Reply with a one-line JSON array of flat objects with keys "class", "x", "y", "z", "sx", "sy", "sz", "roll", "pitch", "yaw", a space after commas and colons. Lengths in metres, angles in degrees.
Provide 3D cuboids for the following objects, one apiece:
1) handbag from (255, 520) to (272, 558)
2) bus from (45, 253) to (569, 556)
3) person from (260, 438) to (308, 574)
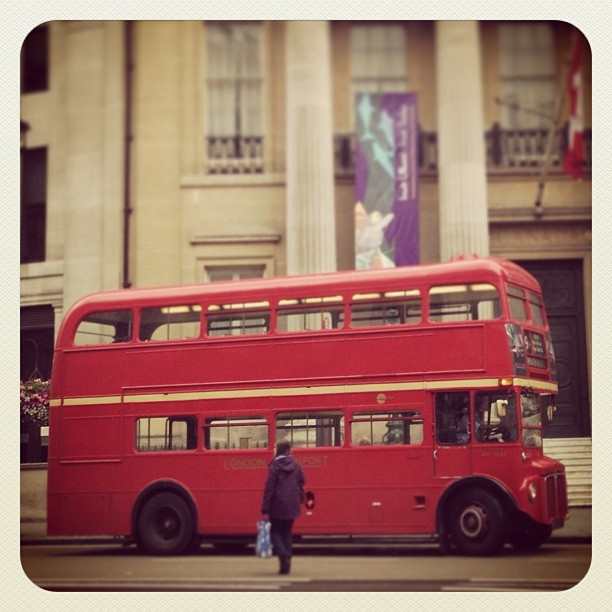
[{"class": "handbag", "x": -0.505, "y": 2.837, "z": 14.554, "sx": 0.183, "sy": 0.462, "sz": 0.224, "roll": -1, "pitch": -1, "yaw": -2}, {"class": "bus", "x": -0.076, "y": 1.751, "z": 18.103, "sx": 8.384, "sy": 5.163, "sz": 3.296, "roll": -3, "pitch": -8, "yaw": 15}, {"class": "person", "x": -0.280, "y": 2.475, "z": 14.649, "sx": 0.515, "sy": 1.661, "sz": 0.385, "roll": -1, "pitch": -1, "yaw": -2}]
